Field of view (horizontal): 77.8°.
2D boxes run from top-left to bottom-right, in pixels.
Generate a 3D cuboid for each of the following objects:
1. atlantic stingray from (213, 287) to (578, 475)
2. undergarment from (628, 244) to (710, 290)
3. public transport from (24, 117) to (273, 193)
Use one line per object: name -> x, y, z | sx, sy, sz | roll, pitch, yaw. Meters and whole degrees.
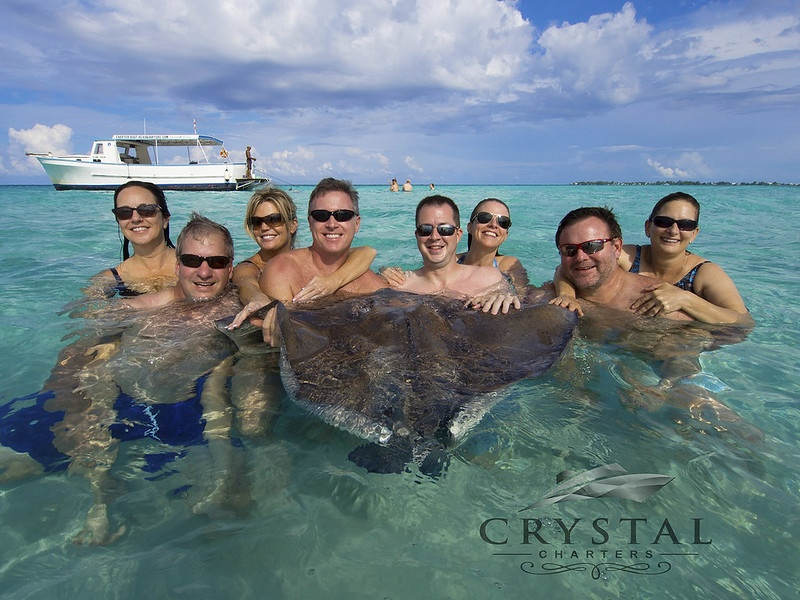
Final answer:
atlantic stingray -> 0.037, 0.524, 4.049 | 2.582, 0.212, 1.577 | 5, 27, -1
undergarment -> 3.432, -0.401, 6.425 | 0.407, 0.542, 0.754 | -18, 21, -41
public transport -> -16.887, -9.049, 33.472 | 12.212, 3.562, 3.992 | -5, 18, -19
